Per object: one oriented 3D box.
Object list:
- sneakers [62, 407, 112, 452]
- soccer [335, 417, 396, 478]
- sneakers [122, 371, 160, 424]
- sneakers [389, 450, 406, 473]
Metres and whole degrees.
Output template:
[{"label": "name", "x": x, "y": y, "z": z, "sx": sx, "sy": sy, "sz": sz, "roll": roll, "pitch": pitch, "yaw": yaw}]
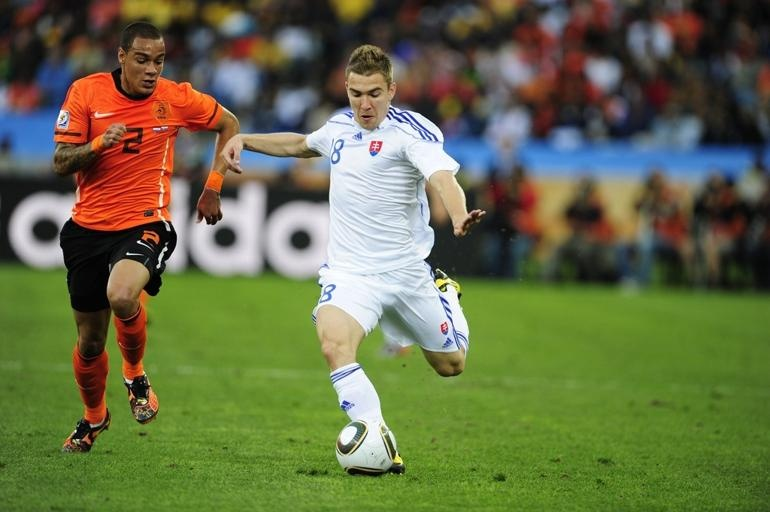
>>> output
[{"label": "sneakers", "x": -2.379, "y": 1.382, "z": 7.160, "sx": 0.163, "sy": 0.208, "sz": 0.472, "roll": 20, "pitch": 47, "yaw": 20}, {"label": "soccer", "x": -0.144, "y": 1.436, "z": 6.598, "sx": 0.392, "sy": 0.411, "sz": 0.398, "roll": 1, "pitch": -1, "yaw": 6}, {"label": "sneakers", "x": -1.961, "y": 1.163, "z": 7.183, "sx": 0.184, "sy": 0.523, "sz": 0.228, "roll": -22, "pitch": -2, "yaw": -14}, {"label": "sneakers", "x": 0.090, "y": 1.574, "z": 6.754, "sx": 0.113, "sy": 0.134, "sz": 0.296, "roll": 1, "pitch": -17, "yaw": 1}]
